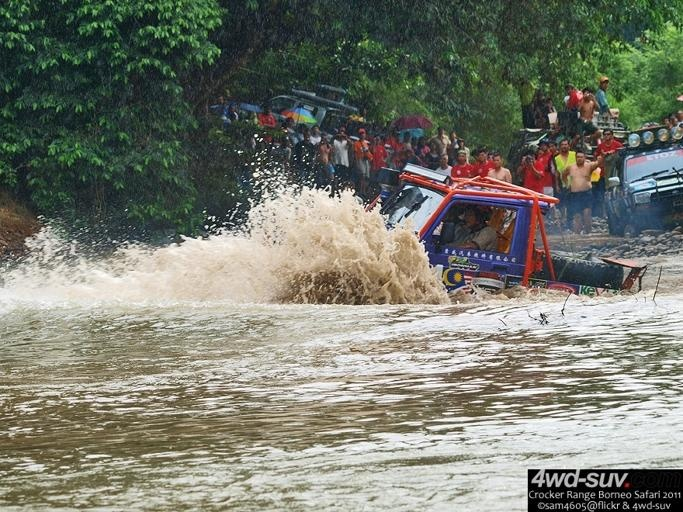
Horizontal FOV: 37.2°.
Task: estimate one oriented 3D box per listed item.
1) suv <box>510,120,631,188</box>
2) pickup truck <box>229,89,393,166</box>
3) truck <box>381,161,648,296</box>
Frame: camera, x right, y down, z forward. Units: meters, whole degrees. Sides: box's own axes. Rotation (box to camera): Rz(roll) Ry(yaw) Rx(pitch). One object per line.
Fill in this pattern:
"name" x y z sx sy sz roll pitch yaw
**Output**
"suv" 6.101 -2.528 26.805 3.116 1.667 2.070 -1 8 -7
"pickup truck" -0.939 -3.714 29.195 3.996 2.173 2.268 16 11 -17
"truck" 2.429 -0.354 14.264 3.316 1.713 1.778 2 1 -10
